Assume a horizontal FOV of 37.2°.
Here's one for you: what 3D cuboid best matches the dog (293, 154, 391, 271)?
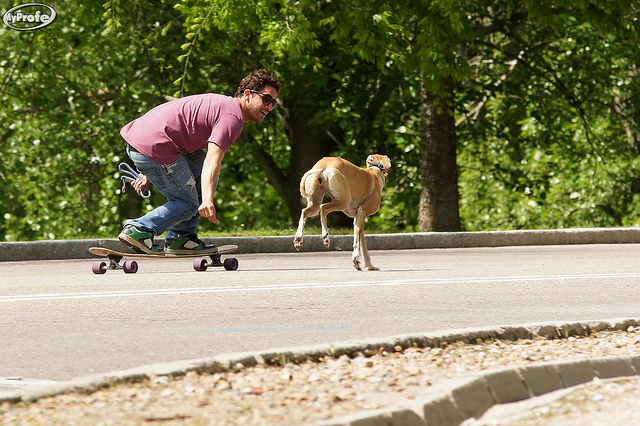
[{"bbox_3d":[0.274,0.017,12.660,1.239,1.509,0.560,-1,4,-13],"label":"dog"}]
